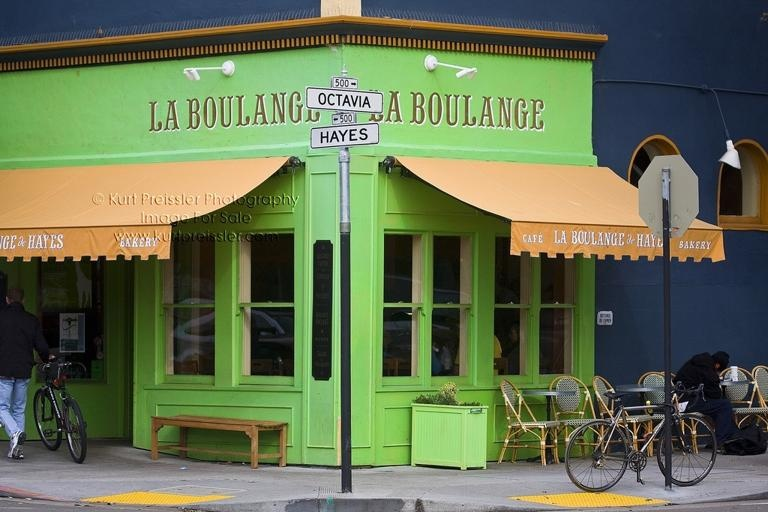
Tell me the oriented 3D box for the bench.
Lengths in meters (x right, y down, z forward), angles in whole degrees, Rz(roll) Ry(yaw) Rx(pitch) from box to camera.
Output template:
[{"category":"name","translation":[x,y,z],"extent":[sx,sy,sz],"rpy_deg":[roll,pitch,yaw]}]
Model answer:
[{"category":"bench","translation":[-2.771,3.096,18.341],"extent":[2.333,0.888,0.834],"rpy_deg":[-5,-8,27]}]

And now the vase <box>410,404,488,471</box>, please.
[{"category":"vase","translation":[1.060,2.979,18.107],"extent":[1.240,1.094,0.378],"rpy_deg":[-2,-7,1]}]

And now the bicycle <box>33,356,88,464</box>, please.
[{"category":"bicycle","translation":[-5.469,2.624,18.745],"extent":[0.639,1.402,2.349],"rpy_deg":[4,-5,-41]}]

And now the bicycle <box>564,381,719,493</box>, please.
[{"category":"bicycle","translation":[3.961,2.812,16.786],"extent":[2.634,1.429,0.610],"rpy_deg":[2,-9,-21]}]

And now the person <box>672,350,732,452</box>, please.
[{"category":"person","translation":[5.712,2.539,19.729],"extent":[1.272,1.694,0.735],"rpy_deg":[14,1,15]}]

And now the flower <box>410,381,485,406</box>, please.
[{"category":"flower","translation":[0.950,2.380,18.306],"extent":[0.534,0.238,0.713],"rpy_deg":[3,-4,-14]}]

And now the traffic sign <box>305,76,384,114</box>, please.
[{"category":"traffic sign","translation":[-0.562,-2.304,15.989],"extent":[1.186,0.512,0.109],"rpy_deg":[1,-16,-20]}]
